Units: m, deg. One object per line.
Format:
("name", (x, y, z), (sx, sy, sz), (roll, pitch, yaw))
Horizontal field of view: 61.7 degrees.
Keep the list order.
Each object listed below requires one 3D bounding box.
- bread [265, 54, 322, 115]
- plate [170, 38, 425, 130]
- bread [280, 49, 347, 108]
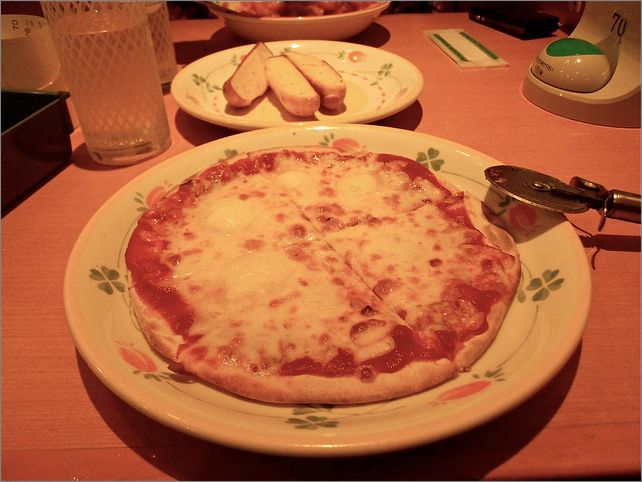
("bread", (-0.082, -0.455, 1.584), (0.091, 0.050, 0.239), (-26, 47, -6))
("plate", (-0.030, -0.499, 1.622), (0.492, 0.079, 0.500), (29, 45, 31))
("bread", (-0.011, -0.511, 1.625), (0.124, 0.057, 0.236), (-24, 56, -25))
